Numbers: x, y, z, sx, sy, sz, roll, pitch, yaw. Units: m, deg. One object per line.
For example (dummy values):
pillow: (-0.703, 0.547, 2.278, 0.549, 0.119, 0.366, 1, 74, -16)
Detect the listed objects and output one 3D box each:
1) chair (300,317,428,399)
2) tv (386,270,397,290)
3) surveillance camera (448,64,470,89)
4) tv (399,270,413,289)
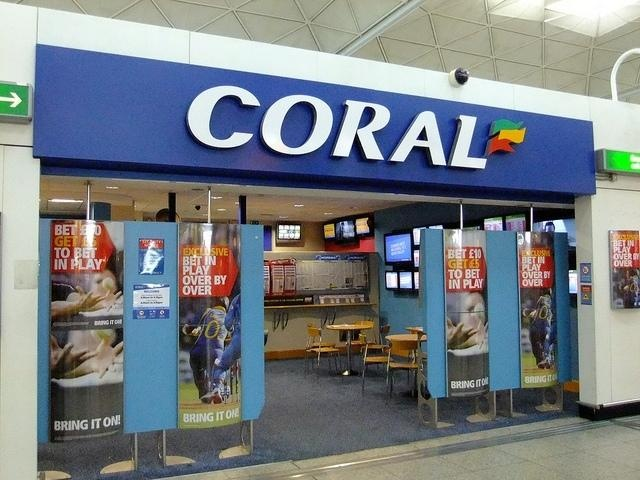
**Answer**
chair: (0.754, 2.098, 10.154, 1.472, 0.742, 1.545, 1, 0, 8)
tv: (1.524, 0.843, 12.220, 0.218, 0.439, 0.408, 0, -3, -15)
surveillance camera: (1.655, -1.992, 6.991, 0.214, 0.227, 0.164, -7, 6, -23)
tv: (1.758, 0.817, 11.770, 0.075, 0.316, 0.322, 4, -4, -38)
